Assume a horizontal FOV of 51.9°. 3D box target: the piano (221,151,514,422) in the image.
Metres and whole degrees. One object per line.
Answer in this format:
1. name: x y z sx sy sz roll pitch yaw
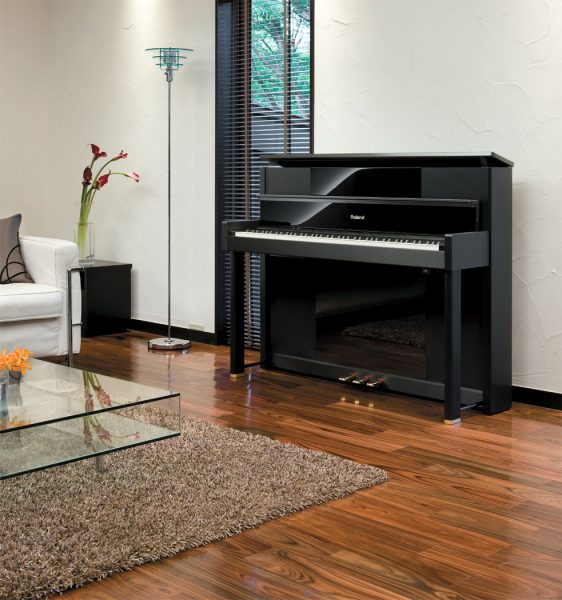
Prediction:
1. piano: 0.511 -0.060 3.164 0.585 1.345 1.657 0 1 -43

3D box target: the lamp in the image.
1. lamp: -0.899 -0.863 4.710 0.402 2.471 0.751 2 4 -13

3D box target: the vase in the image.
1. vase: -1.631 -0.893 5.156 0.471 1.061 0.830 -1 6 -44
